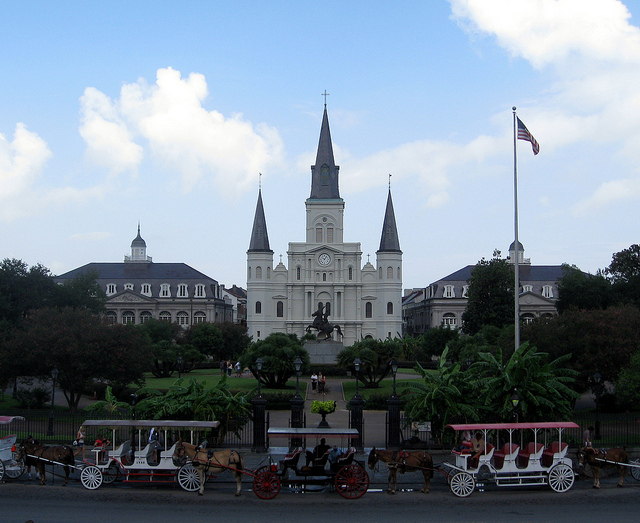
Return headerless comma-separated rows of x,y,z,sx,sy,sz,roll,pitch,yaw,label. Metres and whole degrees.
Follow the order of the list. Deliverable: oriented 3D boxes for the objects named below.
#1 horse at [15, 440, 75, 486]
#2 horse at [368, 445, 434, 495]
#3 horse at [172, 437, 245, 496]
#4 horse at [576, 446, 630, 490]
-13.772,10.093,68.845,2.954,2.358,0.874,2,-3,-6,horse
4.125,10.495,68.634,3.005,2.310,1.533,-2,-8,5,horse
-5.454,10.261,68.046,3.517,2.798,0.999,1,3,-3,horse
14.408,10.438,69.157,3.134,2.164,0.810,1,-7,-13,horse
